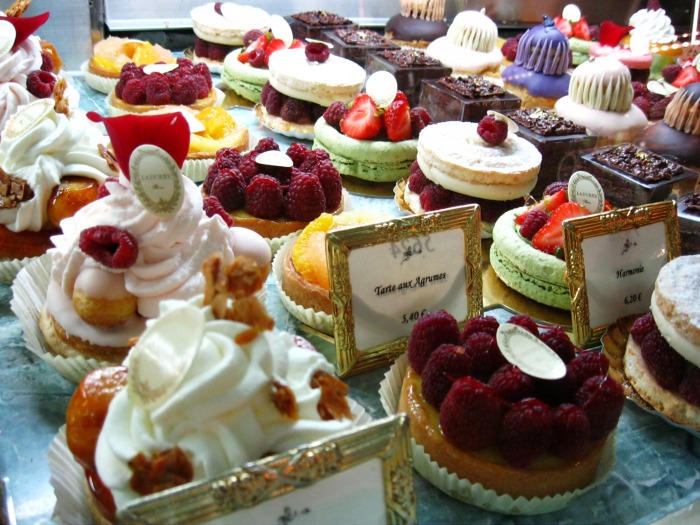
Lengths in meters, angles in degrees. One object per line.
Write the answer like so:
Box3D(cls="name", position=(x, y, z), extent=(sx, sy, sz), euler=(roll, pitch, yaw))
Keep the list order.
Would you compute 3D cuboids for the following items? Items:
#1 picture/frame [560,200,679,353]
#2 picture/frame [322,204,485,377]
Box3D(cls="picture/frame", position=(1.002, 0.041, 2.045), extent=(0.488, 0.438, 0.040), euler=(-12, 10, -17))
Box3D(cls="picture/frame", position=(0.203, 0.083, 1.902), extent=(0.601, 0.495, 0.030), euler=(-14, 19, -24))
